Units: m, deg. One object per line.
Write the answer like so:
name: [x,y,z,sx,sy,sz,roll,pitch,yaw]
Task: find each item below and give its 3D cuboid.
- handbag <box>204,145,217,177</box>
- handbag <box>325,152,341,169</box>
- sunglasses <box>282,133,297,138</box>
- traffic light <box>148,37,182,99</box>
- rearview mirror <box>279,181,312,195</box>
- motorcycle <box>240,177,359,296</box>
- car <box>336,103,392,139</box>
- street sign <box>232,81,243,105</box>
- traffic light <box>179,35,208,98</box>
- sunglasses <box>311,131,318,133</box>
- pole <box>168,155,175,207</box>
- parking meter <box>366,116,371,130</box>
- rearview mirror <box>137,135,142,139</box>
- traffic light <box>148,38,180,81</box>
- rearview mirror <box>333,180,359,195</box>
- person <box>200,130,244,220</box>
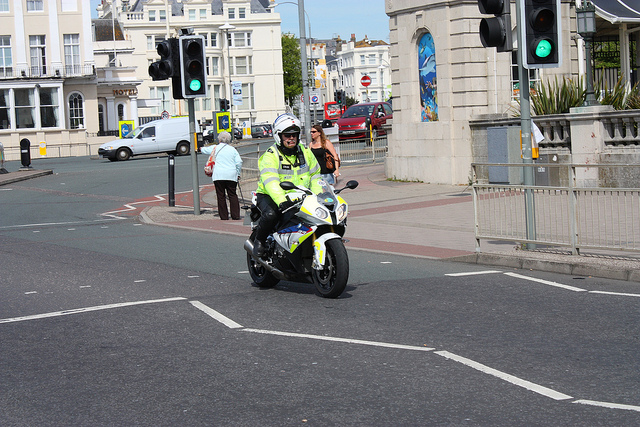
handbag: [-2.587,-1.274,18.443,0.317,0.735,0.717,-4,9,-8]
handbag: [0.282,-1.216,17.680,0.381,0.363,0.247,-6,11,-14]
sunglasses: [-0.398,-1.072,10.542,0.172,0.058,0.063,-5,9,-19]
traffic light: [-3.581,-3.411,18.109,0.742,1.398,0.591,-3,9,0]
rearview mirror: [-0.341,-0.371,10.366,0.518,0.138,0.152,19,20,-24]
motorcycle: [-0.363,0.322,11.061,1.217,1.519,2.812,5,-2,-30]
car: [2.608,-5.360,44.196,2.515,1.960,4.475,2,10,28]
street sign: [-3.765,-5.463,35.066,0.354,0.969,1.025,-4,9,-6]
traffic light: [-2.986,-3.442,18.096,0.698,1.433,0.481,-12,18,-37]
sunglasses: [-0.127,-1.887,17.780,0.043,0.031,0.199,-10,11,-40]
pole: [-3.956,-0.861,20.614,0.145,1.401,0.497,-5,9,-16]
parking meter: [2.642,-4.968,42.109,0.258,0.628,0.537,-2,9,4]
rearview mirror: [-10.182,-4.373,43.910,0.145,0.216,0.289,4,11,38]
traffic light: [-3.632,-3.619,18.030,0.697,0.931,0.510,-3,9,-1]
rearview mirror: [0.300,-0.348,10.557,0.153,0.117,0.519,21,-32,-40]
person: [-2.225,-0.897,18.276,0.625,2.100,0.582,3,10,32]
